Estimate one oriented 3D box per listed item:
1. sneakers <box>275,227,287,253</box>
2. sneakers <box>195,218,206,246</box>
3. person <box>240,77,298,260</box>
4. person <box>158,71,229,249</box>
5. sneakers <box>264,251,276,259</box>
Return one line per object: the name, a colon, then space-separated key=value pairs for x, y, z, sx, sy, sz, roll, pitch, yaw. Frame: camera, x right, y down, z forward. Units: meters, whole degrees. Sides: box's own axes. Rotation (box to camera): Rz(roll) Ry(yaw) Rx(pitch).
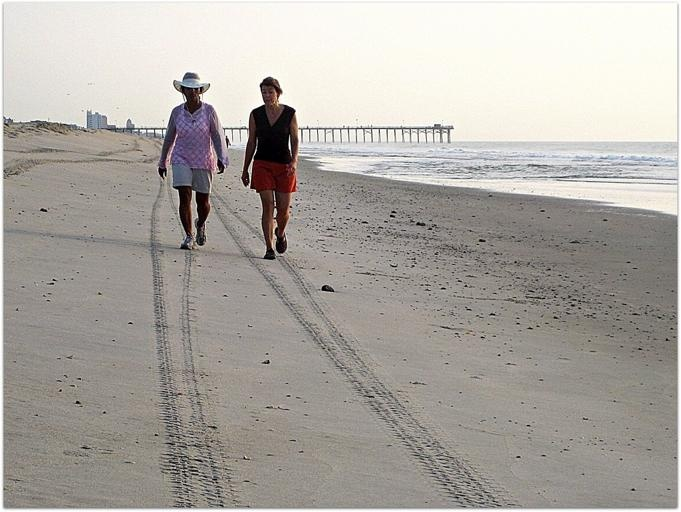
sneakers: x=-0.667 y=-0.171 z=9.118 sx=0.135 sy=0.281 sz=0.116 roll=-3 pitch=16 yaw=2
sneakers: x=-1.570 y=-0.270 z=9.073 sx=0.120 sy=0.302 sz=0.136 roll=-7 pitch=0 yaw=-20
person: x=-0.757 y=-0.945 z=8.757 sx=0.604 sy=1.982 sz=0.785 roll=7 pitch=13 yaw=-6
person: x=-1.615 y=-0.979 z=8.751 sx=0.728 sy=1.848 sz=0.485 roll=6 pitch=13 yaw=-13
sneakers: x=-0.770 y=-0.009 z=8.834 sx=0.094 sy=0.089 sz=0.240 roll=0 pitch=0 yaw=-7
